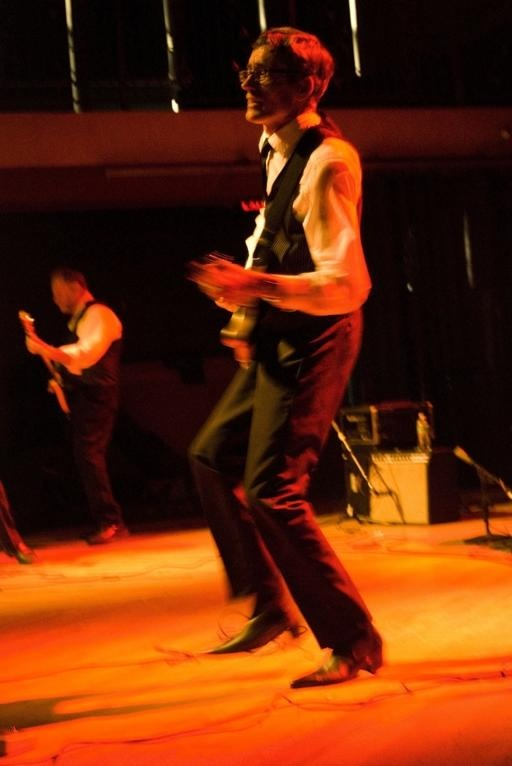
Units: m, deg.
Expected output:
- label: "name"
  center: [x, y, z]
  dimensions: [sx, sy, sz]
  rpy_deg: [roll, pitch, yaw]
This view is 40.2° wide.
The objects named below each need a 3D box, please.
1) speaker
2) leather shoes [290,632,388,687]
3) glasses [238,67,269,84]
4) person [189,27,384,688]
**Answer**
- label: "speaker"
  center: [0.707, 0.570, 3.804]
  dimensions: [0.375, 0.411, 0.654]
  rpy_deg: [3, -7, -26]
- label: "leather shoes"
  center: [0.158, 0.540, 1.358]
  dimensions: [0.143, 0.045, 0.104]
  rpy_deg: [-21, -5, -17]
- label: "glasses"
  center: [0.000, -0.640, 1.481]
  dimensions: [0.048, 0.044, 0.017]
  rpy_deg: [3, 20, 29]
- label: "person"
  center: [0.054, -0.080, 1.465]
  dimensions: [0.433, 1.368, 0.438]
  rpy_deg: [-7, 3, -7]
